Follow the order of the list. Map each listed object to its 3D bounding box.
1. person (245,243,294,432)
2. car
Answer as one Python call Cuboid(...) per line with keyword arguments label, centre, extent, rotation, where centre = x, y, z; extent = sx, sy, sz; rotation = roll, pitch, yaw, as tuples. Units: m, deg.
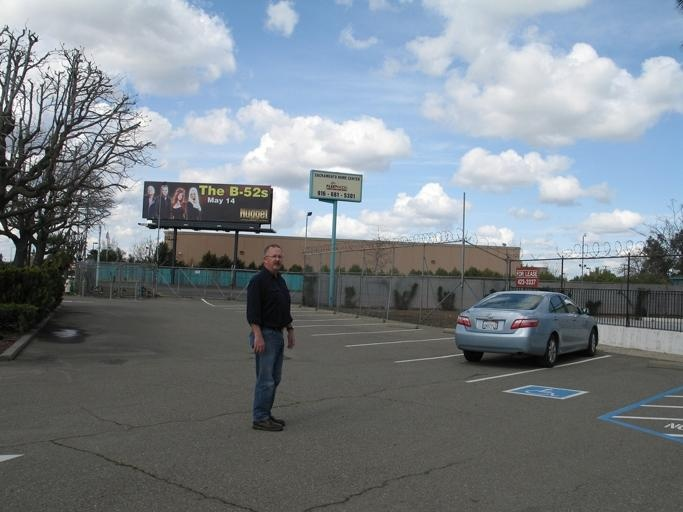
Cuboid(label="person", centre=(-0.995, 1.096, 6.953), extent=(0.680, 2.533, 0.457), rotation=(3, -2, -30))
Cuboid(label="car", centre=(4.890, 1.827, 13.120), extent=(3.826, 1.855, 1.674), rotation=(5, -4, -38))
